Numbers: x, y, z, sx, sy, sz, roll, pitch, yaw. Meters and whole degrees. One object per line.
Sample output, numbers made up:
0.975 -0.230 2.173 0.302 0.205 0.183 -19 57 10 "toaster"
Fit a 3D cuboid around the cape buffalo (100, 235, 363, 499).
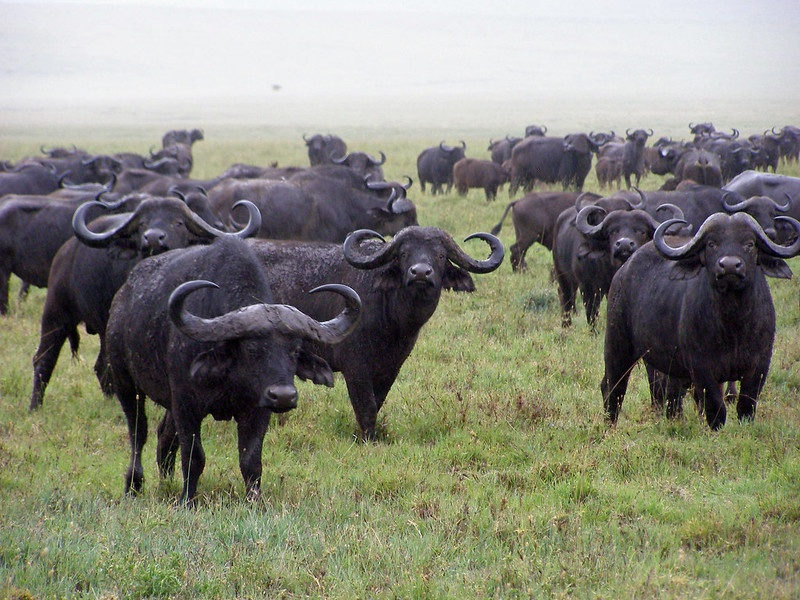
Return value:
-1.955 0.719 9.504 1.345 2.383 3.840 0 -5 -33 "cape buffalo"
